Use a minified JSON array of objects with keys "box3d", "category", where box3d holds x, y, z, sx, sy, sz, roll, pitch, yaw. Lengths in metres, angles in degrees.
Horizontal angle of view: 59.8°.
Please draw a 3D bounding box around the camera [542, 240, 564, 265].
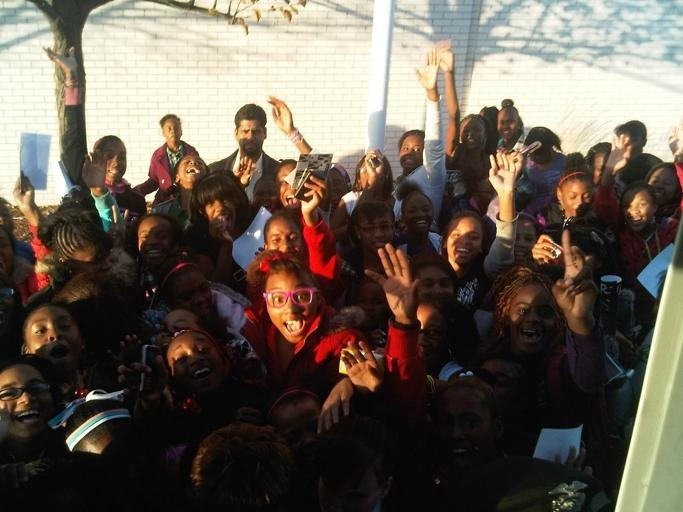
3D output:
[{"box3d":[1.238,-0.019,3.484,0.098,0.106,0.165,-9,37,10],"category":"camera"}]
